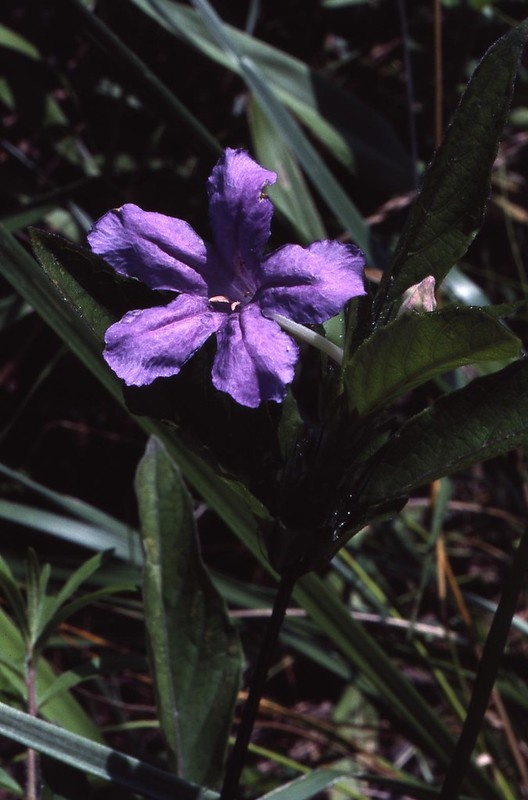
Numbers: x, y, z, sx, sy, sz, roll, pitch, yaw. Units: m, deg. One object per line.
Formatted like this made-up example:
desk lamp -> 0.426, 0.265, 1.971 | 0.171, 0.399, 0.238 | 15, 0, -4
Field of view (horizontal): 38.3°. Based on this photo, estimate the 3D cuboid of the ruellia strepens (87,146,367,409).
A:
ruellia strepens -> -0.031, -0.099, 0.617 | 0.216, 0.204, 0.127 | -18, -51, 11
